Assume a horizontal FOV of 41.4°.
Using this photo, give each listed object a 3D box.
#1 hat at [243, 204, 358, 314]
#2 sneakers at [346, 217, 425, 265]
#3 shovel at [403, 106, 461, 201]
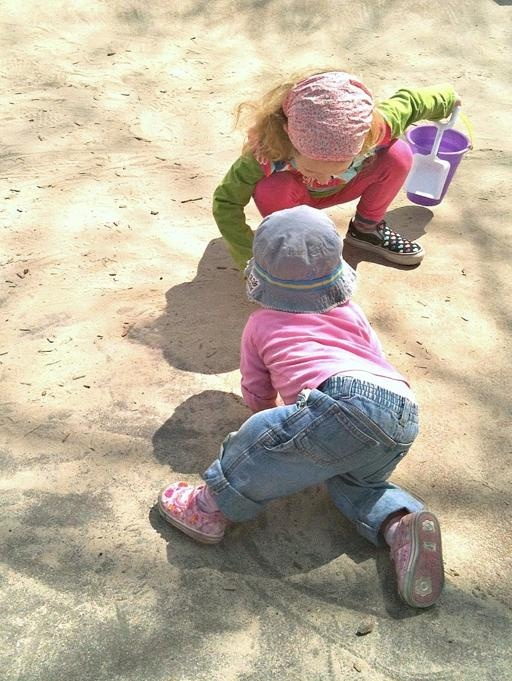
[{"bbox_3d":[0.113,-0.208,1.886,0.369,0.175,0.295,4,44,3],"label":"hat"},{"bbox_3d":[0.620,-0.474,3.327,0.462,0.162,0.156,23,56,24],"label":"sneakers"},{"bbox_3d":[0.878,-0.922,3.429,0.241,0.458,0.194,24,4,18],"label":"shovel"}]
